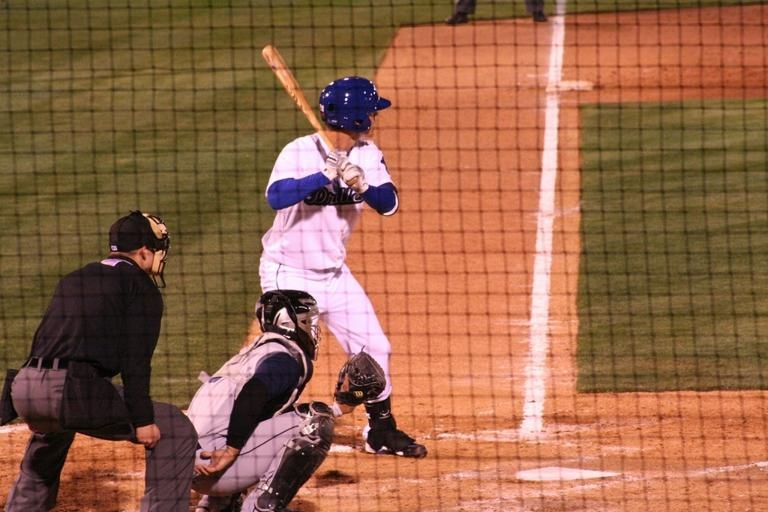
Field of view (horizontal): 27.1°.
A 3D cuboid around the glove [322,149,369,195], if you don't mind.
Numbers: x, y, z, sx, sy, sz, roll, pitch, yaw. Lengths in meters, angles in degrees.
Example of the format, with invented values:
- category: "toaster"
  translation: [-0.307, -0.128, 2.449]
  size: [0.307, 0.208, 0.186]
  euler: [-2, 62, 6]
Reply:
- category: "glove"
  translation: [-0.497, -1.036, 19.490]
  size: [0.663, 0.352, 0.231]
  euler: [30, -43, -16]

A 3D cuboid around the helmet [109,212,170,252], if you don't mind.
- category: "helmet"
  translation: [-2.970, -0.311, 19.005]
  size: [0.708, 0.424, 0.461]
  euler: [-7, 17, -16]

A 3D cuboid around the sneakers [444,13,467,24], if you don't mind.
- category: "sneakers"
  translation: [1.164, -3.939, 26.471]
  size: [0.384, 0.130, 0.131]
  euler: [2, 33, 5]

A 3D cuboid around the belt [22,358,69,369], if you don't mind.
- category: "belt"
  translation: [-3.970, 1.254, 18.641]
  size: [0.529, 0.131, 0.113]
  euler: [-2, -7, 17]
